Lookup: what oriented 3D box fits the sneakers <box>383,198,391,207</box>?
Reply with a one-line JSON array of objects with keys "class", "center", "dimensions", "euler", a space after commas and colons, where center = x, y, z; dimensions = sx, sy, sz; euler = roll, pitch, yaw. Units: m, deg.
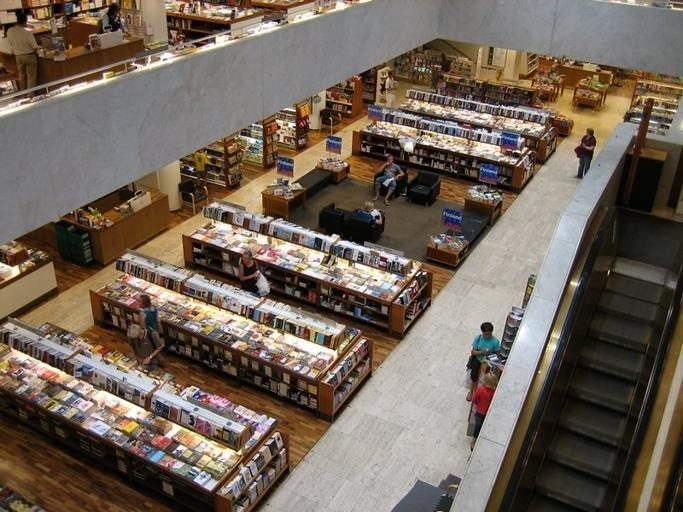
[{"class": "sneakers", "center": [1.357, -1.542, 15.453], "dimensions": [0.094, 0.099, 0.261], "euler": [-8, 30, -9]}]

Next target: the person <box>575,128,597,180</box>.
[{"class": "person", "center": [7.420, -3.135, 16.304], "dimensions": [0.555, 1.531, 0.515], "euler": [17, 42, 27]}]

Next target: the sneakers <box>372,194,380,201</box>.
[{"class": "sneakers", "center": [1.038, -1.705, 15.674], "dimensions": [0.092, 0.106, 0.280], "euler": [8, 31, 24]}]
